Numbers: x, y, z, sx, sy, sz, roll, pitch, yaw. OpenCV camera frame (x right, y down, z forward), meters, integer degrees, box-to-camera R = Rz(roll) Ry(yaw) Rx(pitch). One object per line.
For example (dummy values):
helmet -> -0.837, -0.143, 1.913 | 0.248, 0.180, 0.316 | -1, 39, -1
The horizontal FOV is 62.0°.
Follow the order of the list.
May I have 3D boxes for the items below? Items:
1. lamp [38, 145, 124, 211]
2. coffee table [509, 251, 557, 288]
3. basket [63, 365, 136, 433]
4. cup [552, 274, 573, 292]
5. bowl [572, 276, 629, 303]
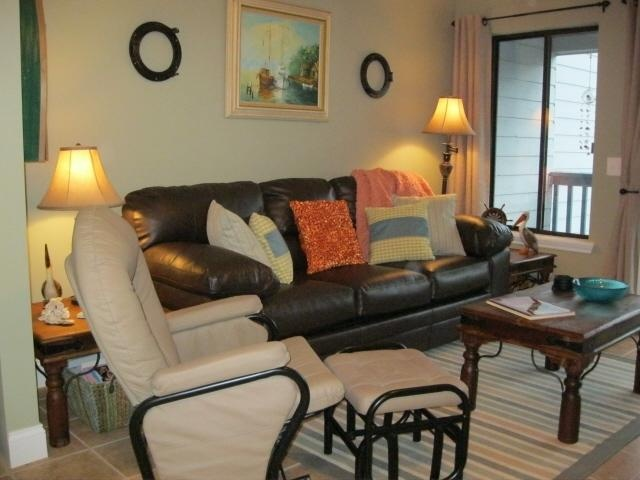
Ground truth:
lamp -> -1.353, -0.330, 3.216 | 0.499, 0.408, 0.499 | -4, 5, -5
coffee table -> 1.857, 0.250, 4.688 | 0.344, 0.252, 0.485 | -9, 13, -38
basket -> -1.259, 0.862, 3.050 | 0.311, 0.276, 0.412 | -4, 4, -43
cup -> 1.556, 0.261, 3.410 | 0.103, 0.076, 0.110 | -1, 10, 0
bowl -> 1.691, 0.301, 3.220 | 0.212, 0.082, 0.204 | -3, 13, 1
